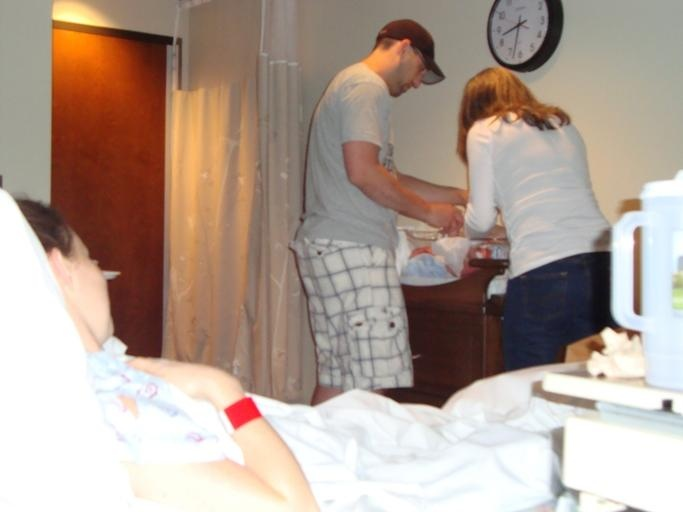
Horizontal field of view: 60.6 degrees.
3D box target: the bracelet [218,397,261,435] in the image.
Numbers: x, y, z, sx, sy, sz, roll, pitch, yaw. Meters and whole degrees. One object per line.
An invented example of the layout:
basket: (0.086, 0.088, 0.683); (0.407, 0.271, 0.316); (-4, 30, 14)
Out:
bracelet: (-0.161, 0.254, 0.921); (0.058, 0.045, 0.019); (-24, -16, -19)
